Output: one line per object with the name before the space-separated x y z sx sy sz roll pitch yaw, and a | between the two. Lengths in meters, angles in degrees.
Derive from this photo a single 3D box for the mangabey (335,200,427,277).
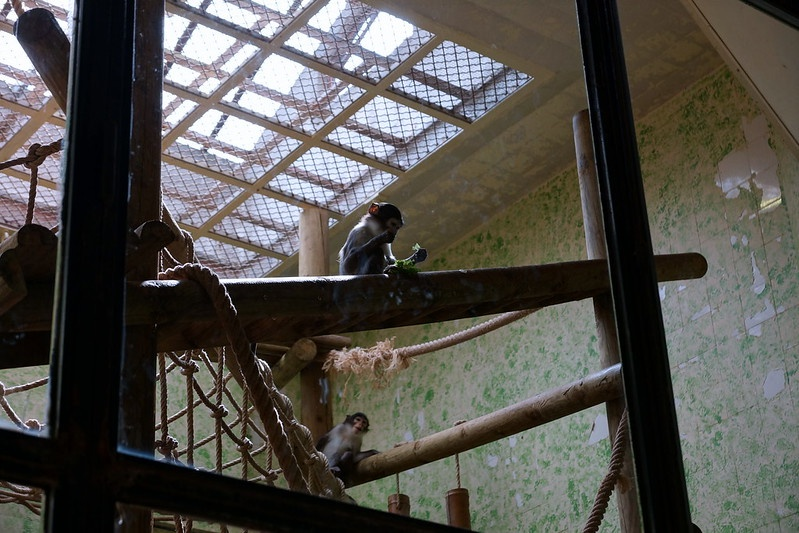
mangabey | -0.050 -0.031 3.339 0.222 0.331 0.164 3 -16 -1
